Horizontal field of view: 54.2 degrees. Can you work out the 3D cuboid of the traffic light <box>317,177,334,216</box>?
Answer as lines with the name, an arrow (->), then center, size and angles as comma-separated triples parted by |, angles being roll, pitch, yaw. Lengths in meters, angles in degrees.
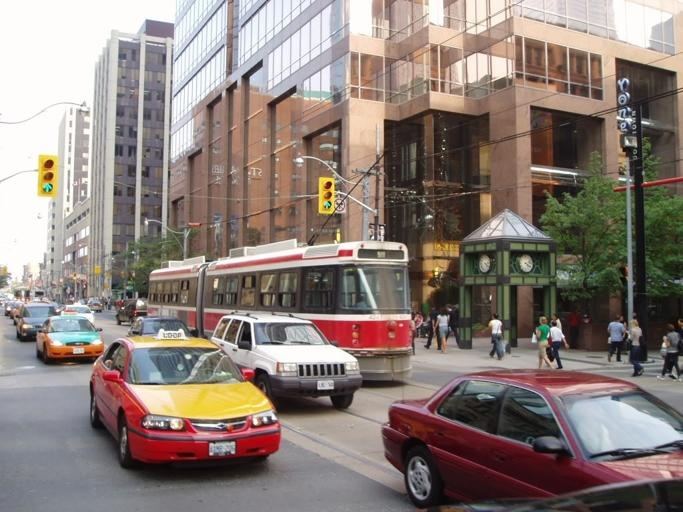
traffic light -> -0.676, -2.894, 32.273 | 0.729, 1.862, 0.972 | -1, -5, -7

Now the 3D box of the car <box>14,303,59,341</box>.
car -> -14.514, 3.106, 31.691 | 1.814, 1.445, 3.376 | 2, -7, -27

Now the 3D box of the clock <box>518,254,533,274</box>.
clock -> 8.626, 0.354, 31.094 | 0.773, 0.769, 0.176 | 48, -26, -19

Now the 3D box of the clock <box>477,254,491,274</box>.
clock -> 6.821, 0.379, 31.673 | 0.110, 0.868, 0.851 | 5, -7, -18

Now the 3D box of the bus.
bus -> -2.569, 1.728, 26.507 | 3.593, 5.391, 17.917 | 1, -5, -27
